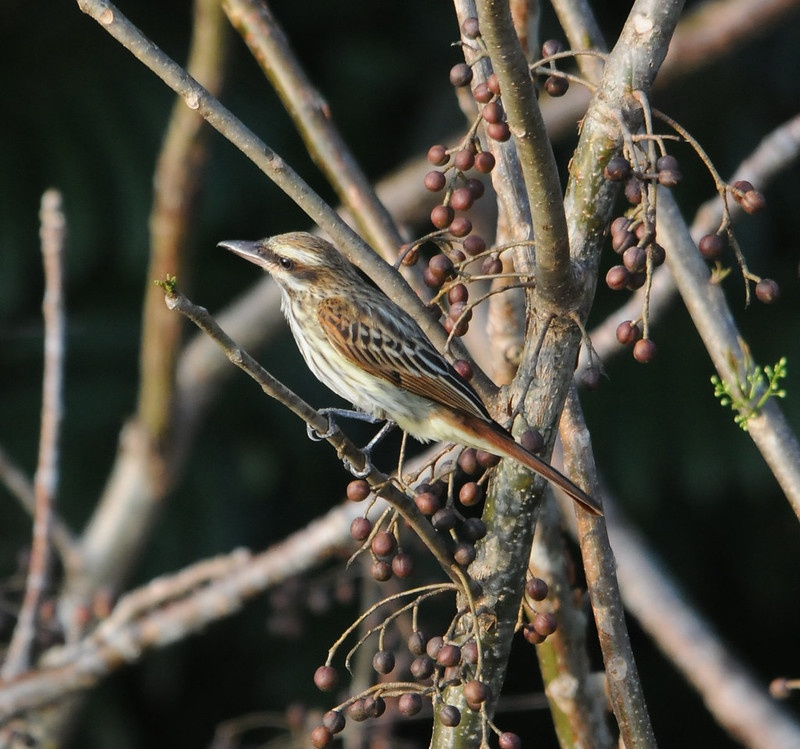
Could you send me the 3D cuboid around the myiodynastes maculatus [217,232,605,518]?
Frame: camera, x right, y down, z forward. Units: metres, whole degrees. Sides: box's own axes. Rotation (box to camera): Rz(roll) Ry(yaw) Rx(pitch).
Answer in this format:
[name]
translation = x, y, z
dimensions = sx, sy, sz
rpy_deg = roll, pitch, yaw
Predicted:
[myiodynastes maculatus]
translation = 0.053, 0.005, 4.464
dimensions = 1.174, 0.809, 0.401
rpy_deg = 6, -17, -6
